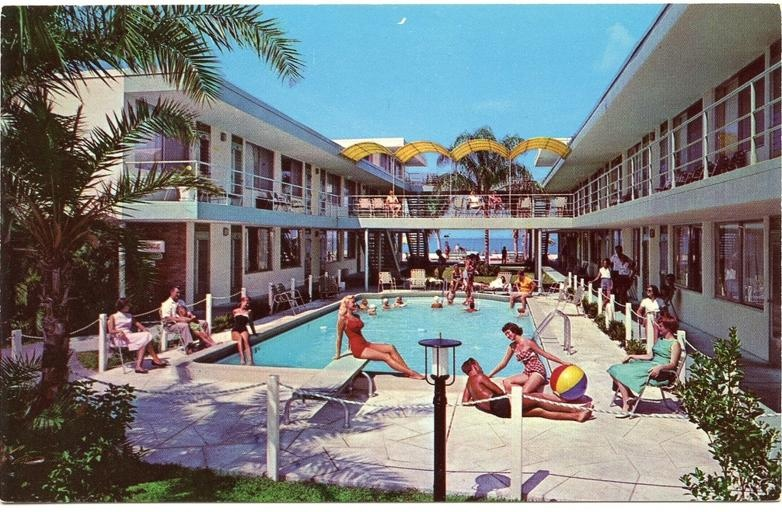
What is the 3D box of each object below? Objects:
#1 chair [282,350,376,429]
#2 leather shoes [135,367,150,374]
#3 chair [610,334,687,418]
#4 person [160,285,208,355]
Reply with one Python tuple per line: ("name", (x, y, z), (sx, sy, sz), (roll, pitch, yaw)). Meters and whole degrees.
("chair", (-1.095, 2.356, 10.207), (1.349, 0.878, 2.496), (2, 13, 12))
("leather shoes", (-5.219, 2.379, 11.637), (0.269, 0.107, 0.235), (-5, 14, -21))
("chair", (4.498, 2.052, 9.785), (1.155, 1.231, 0.630), (-4, 14, -15))
("person", (-4.899, 1.466, 13.306), (1.263, 1.347, 0.706), (7, 11, -9))
